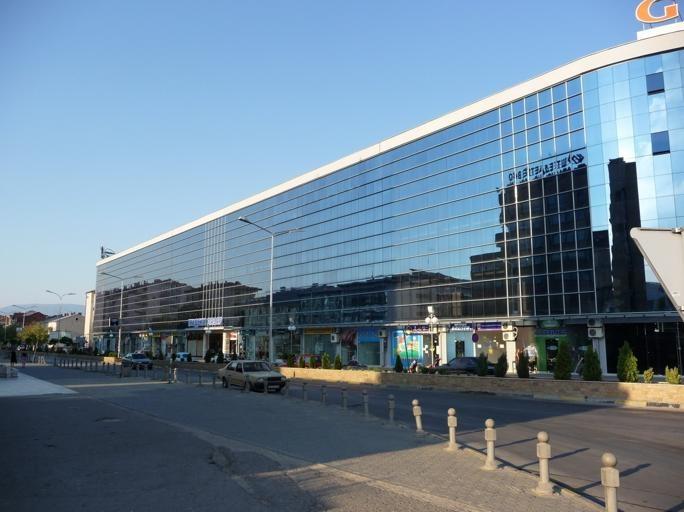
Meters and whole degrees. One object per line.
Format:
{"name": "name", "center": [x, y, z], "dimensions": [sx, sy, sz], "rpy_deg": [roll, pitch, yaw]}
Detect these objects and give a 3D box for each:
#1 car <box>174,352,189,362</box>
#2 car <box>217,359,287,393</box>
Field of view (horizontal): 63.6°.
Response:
{"name": "car", "center": [-18.547, 11.739, 64.251], "dimensions": [1.317, 1.054, 2.232], "rpy_deg": [7, -15, -39]}
{"name": "car", "center": [-4.916, 6.566, 29.974], "dimensions": [1.740, 1.129, 3.805], "rpy_deg": [7, -13, -33]}
